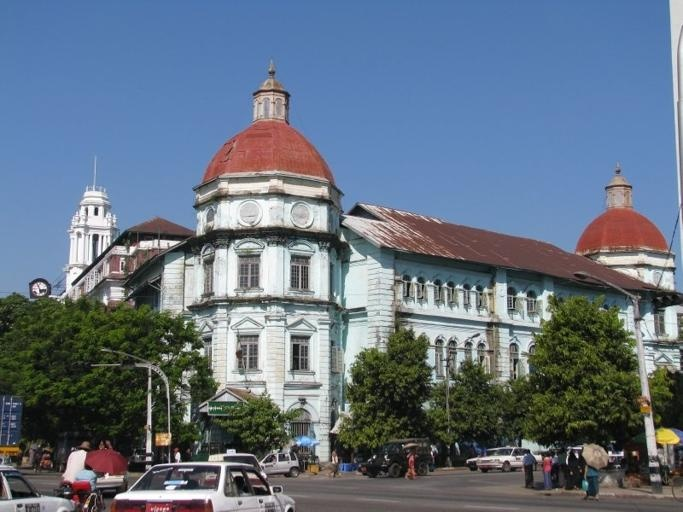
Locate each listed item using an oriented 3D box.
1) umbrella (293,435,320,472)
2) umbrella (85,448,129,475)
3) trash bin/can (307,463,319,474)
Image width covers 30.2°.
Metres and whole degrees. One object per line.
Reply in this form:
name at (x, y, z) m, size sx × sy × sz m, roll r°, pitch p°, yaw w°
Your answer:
umbrella at (-2.783, 14.687, 96.283) m, size 1.126 × 1.950 × 1.121 m, roll 14°, pitch -2°, yaw -23°
umbrella at (-11.552, 10.139, 62.257) m, size 1.464 × 0.545 × 1.433 m, roll 17°, pitch 25°, yaw -18°
trash bin/can at (-2.045, 15.640, 92.776) m, size 0.607 × 0.602 × 0.588 m, roll 0°, pitch -9°, yaw 0°
